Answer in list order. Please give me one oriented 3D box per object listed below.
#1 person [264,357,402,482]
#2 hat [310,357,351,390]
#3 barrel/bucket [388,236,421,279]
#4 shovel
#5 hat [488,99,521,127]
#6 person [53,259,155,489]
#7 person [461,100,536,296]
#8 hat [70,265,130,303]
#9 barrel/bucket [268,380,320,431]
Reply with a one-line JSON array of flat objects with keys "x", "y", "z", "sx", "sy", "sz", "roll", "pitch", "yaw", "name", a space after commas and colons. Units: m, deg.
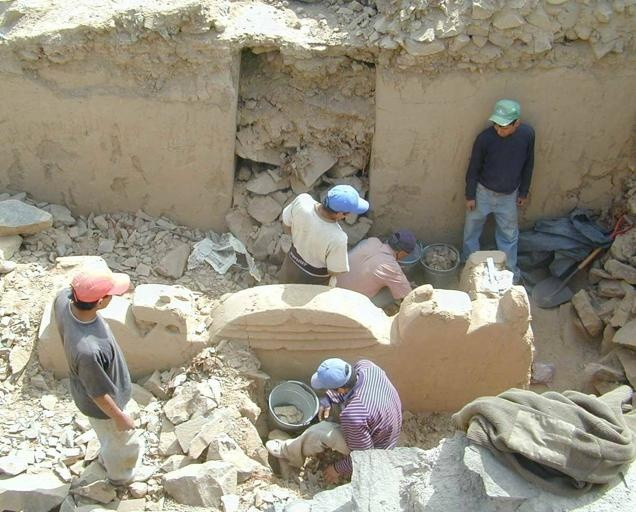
[{"x": 0.103, "y": 1.230, "z": 5.316, "sx": 1.084, "sy": 0.891, "sz": 0.735, "roll": -5, "pitch": 26, "yaw": -7, "name": "person"}, {"x": 0.092, "y": 0.853, "z": 5.094, "sx": 0.275, "sy": 0.126, "sz": 0.193, "roll": -10, "pitch": 54, "yaw": 13, "name": "hat"}, {"x": 0.806, "y": 0.000, "z": 6.943, "sx": 0.352, "sy": 0.376, "sz": 0.368, "roll": -3, "pitch": 64, "yaw": 7, "name": "barrel/bucket"}, {"x": 2.586, "y": 0.053, "z": 6.817, "sx": 1.037, "sy": 0.400, "sz": 0.301, "roll": -31, "pitch": 62, "yaw": 6, "name": "shovel"}, {"x": 1.667, "y": -1.284, "z": 6.254, "sx": 0.284, "sy": 0.147, "sz": 0.208, "roll": -27, "pitch": 50, "yaw": -33, "name": "hat"}, {"x": -1.551, "y": 0.923, "z": 5.061, "sx": 0.453, "sy": 1.500, "sz": 0.683, "roll": -29, "pitch": 70, "yaw": -30, "name": "person"}, {"x": 1.716, "y": -0.574, "z": 6.729, "sx": 0.613, "sy": 1.858, "sz": 0.537, "roll": 9, "pitch": 30, "yaw": 15, "name": "person"}, {"x": -1.425, "y": 0.198, "z": 4.649, "sx": 0.324, "sy": 0.125, "sz": 0.203, "roll": -10, "pitch": 52, "yaw": -41, "name": "hat"}, {"x": -0.209, "y": 1.229, "z": 5.816, "sx": 0.399, "sy": 0.301, "sz": 0.428, "roll": 1, "pitch": 78, "yaw": -3, "name": "barrel/bucket"}]
